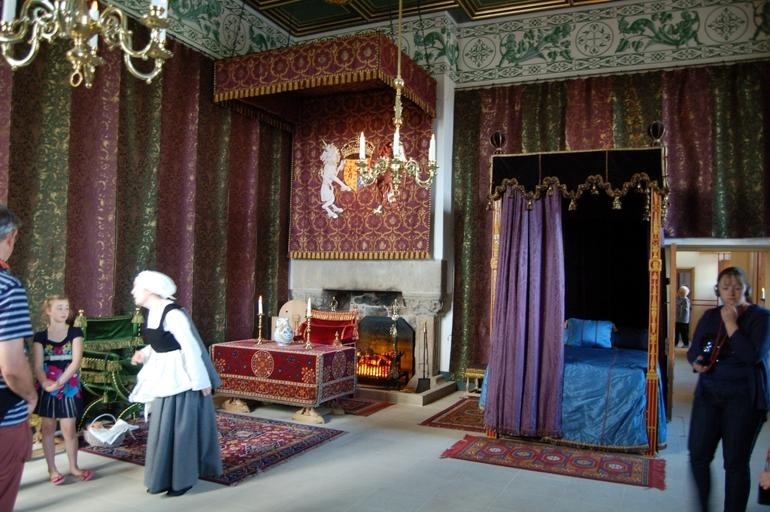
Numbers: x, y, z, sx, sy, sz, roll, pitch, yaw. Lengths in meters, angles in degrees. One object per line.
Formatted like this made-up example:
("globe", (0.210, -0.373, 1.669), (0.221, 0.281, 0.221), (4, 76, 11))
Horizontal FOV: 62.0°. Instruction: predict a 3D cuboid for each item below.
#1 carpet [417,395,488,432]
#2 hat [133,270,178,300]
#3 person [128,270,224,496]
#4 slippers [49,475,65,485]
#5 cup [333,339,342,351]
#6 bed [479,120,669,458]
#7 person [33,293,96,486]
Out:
("carpet", (0.982, 2.318, 9.299), (0.871, 0.102, 1.222), (2, 6, 7))
("hat", (-2.439, 0.296, 6.848), (0.388, 0.228, 0.313), (15, -10, -11))
("person", (-2.212, 1.336, 6.801), (0.900, 2.325, 0.458), (-1, 6, -21))
("slippers", (-3.524, 2.418, 6.900), (0.082, 0.049, 0.130), (-11, -7, 14))
("cup", (-0.722, 1.368, 9.801), (0.106, 0.174, 0.114), (-1, -2, 0))
("bed", (2.740, 0.246, 9.215), (2.530, 4.143, 3.042), (3, 6, 23))
("person", (-3.562, 1.444, 7.062), (0.499, 1.973, 0.619), (-3, 7, -32))
